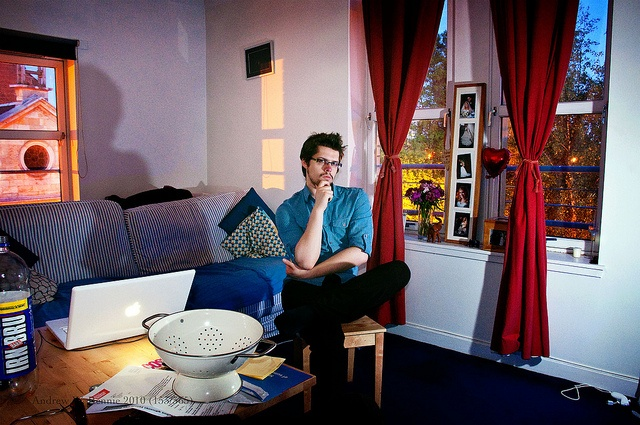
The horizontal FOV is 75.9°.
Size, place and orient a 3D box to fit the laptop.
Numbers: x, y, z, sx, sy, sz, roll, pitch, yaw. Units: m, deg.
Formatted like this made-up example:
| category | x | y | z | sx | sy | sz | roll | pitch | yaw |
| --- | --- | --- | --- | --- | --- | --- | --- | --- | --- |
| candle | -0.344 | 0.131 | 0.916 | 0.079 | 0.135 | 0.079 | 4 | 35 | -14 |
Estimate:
| category | x | y | z | sx | sy | sz | roll | pitch | yaw |
| --- | --- | --- | --- | --- | --- | --- | --- | --- | --- |
| laptop | -0.969 | 0.474 | 2.054 | 0.496 | 0.309 | 0.459 | -8 | 17 | -39 |

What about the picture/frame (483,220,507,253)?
| category | x | y | z | sx | sy | sz | roll | pitch | yaw |
| --- | --- | --- | --- | --- | --- | --- | --- | --- | --- |
| picture/frame | 1.411 | 0.186 | 3.337 | 0.227 | 0.228 | 0.232 | 5 | 5 | 36 |

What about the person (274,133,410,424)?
| category | x | y | z | sx | sy | sz | roll | pitch | yaw |
| --- | --- | --- | --- | --- | --- | --- | --- | --- | --- |
| person | 0.102 | 0.389 | 2.701 | 0.768 | 1.746 | 0.877 | 0 | 14 | -6 |

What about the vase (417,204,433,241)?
| category | x | y | z | sx | sy | sz | roll | pitch | yaw |
| --- | --- | --- | --- | --- | --- | --- | --- | --- | --- |
| vase | 0.946 | 0.091 | 3.690 | 0.114 | 0.298 | 0.132 | 5 | 15 | 14 |

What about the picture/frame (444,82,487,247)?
| category | x | y | z | sx | sy | sz | roll | pitch | yaw |
| --- | --- | --- | --- | --- | --- | --- | --- | --- | --- |
| picture/frame | 1.232 | -0.422 | 3.539 | 0.299 | 1.339 | 0.359 | 6 | 15 | 16 |

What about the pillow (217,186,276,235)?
| category | x | y | z | sx | sy | sz | roll | pitch | yaw |
| --- | --- | --- | --- | --- | --- | --- | --- | --- | --- |
| pillow | -0.706 | -0.028 | 3.845 | 0.400 | 0.438 | 0.103 | -36 | -1 | -35 |

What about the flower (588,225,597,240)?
| category | x | y | z | sx | sy | sz | roll | pitch | yaw |
| --- | --- | --- | --- | --- | --- | --- | --- | --- | --- |
| flower | 2.114 | 0.163 | 3.204 | 0.069 | 0.096 | 0.033 | 13 | -6 | -25 |

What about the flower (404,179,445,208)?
| category | x | y | z | sx | sy | sz | roll | pitch | yaw |
| --- | --- | --- | --- | --- | --- | --- | --- | --- | --- |
| flower | 0.900 | -0.169 | 3.601 | 0.258 | 0.267 | 0.262 | 0 | 2 | -20 |

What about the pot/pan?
| category | x | y | z | sx | sy | sz | roll | pitch | yaw |
| --- | --- | --- | --- | --- | --- | --- | --- | --- | --- |
| pot/pan | -0.513 | 0.672 | 1.859 | 0.539 | 0.242 | 0.416 | 5 | 5 | 16 |

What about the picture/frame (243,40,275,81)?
| category | x | y | z | sx | sy | sz | roll | pitch | yaw |
| --- | --- | --- | --- | --- | --- | --- | --- | --- | --- |
| picture/frame | -0.612 | -1.618 | 4.321 | 0.465 | 0.415 | 0.066 | 3 | 6 | 40 |

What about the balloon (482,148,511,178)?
| category | x | y | z | sx | sy | sz | roll | pitch | yaw |
| --- | --- | --- | --- | --- | --- | --- | --- | --- | --- |
| balloon | 1.452 | -0.420 | 3.445 | 0.231 | 0.262 | 0.134 | 6 | -10 | 28 |
